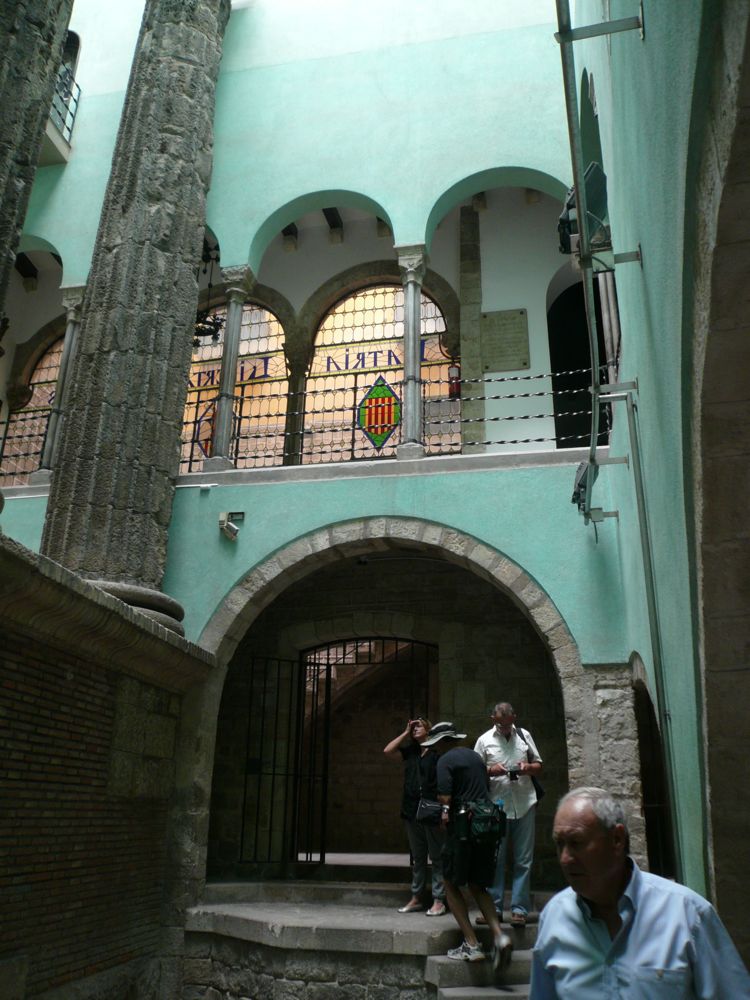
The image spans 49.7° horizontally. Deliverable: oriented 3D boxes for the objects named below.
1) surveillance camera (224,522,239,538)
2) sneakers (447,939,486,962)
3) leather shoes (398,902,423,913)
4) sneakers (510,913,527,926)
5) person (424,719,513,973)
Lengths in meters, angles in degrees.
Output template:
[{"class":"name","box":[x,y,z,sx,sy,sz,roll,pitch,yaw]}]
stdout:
[{"class":"surveillance camera","box":[-1.415,0.287,8.012,0.090,0.176,0.139,0,13,36]},{"class":"sneakers","box":[0.516,2.580,4.640,0.242,0.105,0.096,-8,-27,19]},{"class":"leather shoes","box":[0.283,3.185,6.344,0.085,0.097,0.252,-19,-34,38]},{"class":"sneakers","box":[0.901,2.656,5.106,0.078,0.043,0.122,3,-10,9]},{"class":"person","box":[0.585,2.154,5.014,0.425,1.253,1.520,-7,11,3]}]
